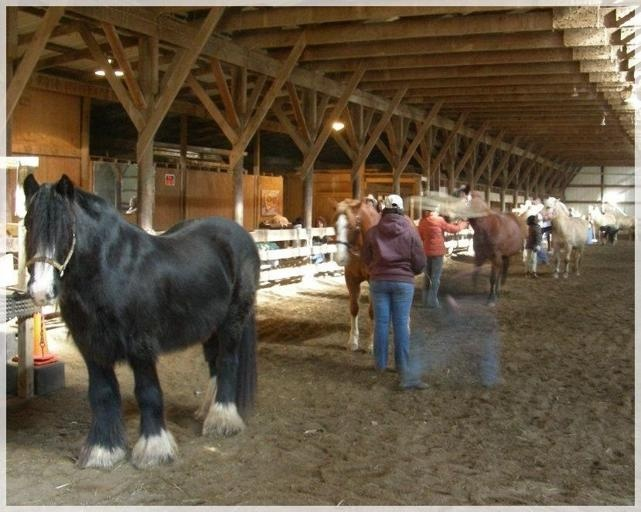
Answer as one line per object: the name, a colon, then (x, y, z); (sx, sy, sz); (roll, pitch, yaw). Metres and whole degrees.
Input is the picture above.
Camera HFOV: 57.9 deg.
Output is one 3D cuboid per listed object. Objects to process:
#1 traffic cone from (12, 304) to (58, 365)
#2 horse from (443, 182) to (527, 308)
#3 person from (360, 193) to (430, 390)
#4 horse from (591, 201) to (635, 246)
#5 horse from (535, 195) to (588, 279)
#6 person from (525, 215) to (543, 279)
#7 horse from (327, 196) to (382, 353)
traffic cone: (-2.616, 0.728, 5.264); (0.391, 0.503, 0.433); (6, 12, 37)
horse: (2.849, -0.070, 9.660); (0.585, 1.848, 2.383); (14, 14, 36)
person: (0.728, 0.348, 5.867); (0.626, 1.995, 0.600); (4, 19, 12)
horse: (12.306, -1.347, 24.373); (1.159, 1.904, 5.972); (9, 12, 34)
horse: (5.448, -0.313, 12.784); (1.908, 1.646, 0.575); (3, 3, -42)
person: (4.521, -0.189, 12.276); (0.329, 1.379, 1.276); (6, 10, 21)
horse: (0.597, 0.275, 7.091); (0.462, 1.798, 1.976); (1, -2, 26)
